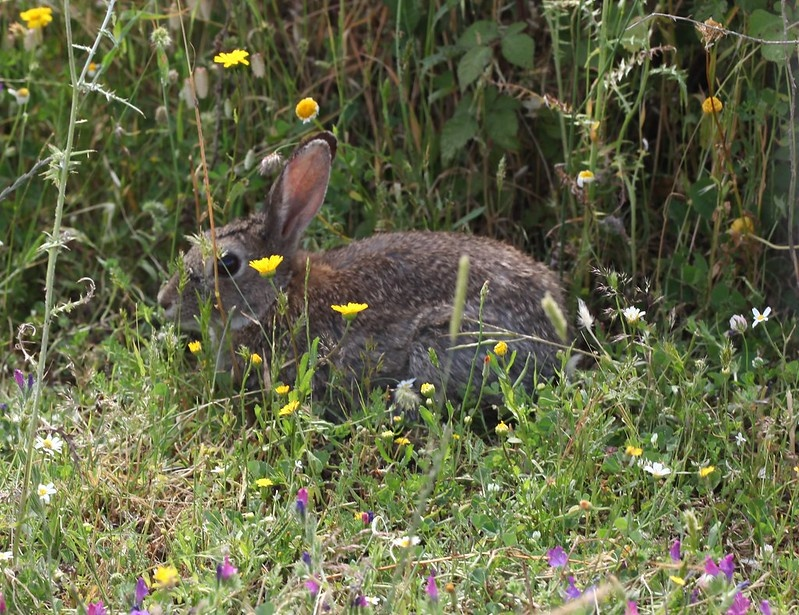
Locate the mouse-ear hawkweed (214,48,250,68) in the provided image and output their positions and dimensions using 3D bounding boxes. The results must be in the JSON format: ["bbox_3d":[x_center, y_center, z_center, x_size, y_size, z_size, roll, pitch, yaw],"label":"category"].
[{"bbox_3d":[-0.856,-1.273,4.833,0.177,0.091,0.209,-6,25,3],"label":"mouse-ear hawkweed"}]

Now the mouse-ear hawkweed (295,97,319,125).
[{"bbox_3d":[-0.453,-0.972,4.703,0.095,0.134,0.196,1,19,-1],"label":"mouse-ear hawkweed"}]

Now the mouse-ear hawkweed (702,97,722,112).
[{"bbox_3d":[1.426,-0.923,4.335,0.069,0.091,0.139,6,19,14],"label":"mouse-ear hawkweed"}]

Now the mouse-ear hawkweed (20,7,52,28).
[{"bbox_3d":[-2.067,-1.651,5.415,0.141,0.130,0.548,-4,21,-18],"label":"mouse-ear hawkweed"}]

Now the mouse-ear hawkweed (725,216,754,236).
[{"bbox_3d":[1.627,-0.395,4.534,0.088,0.111,0.099,-14,-12,10],"label":"mouse-ear hawkweed"}]

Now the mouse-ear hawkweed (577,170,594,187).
[{"bbox_3d":[0.877,-0.601,4.471,0.079,0.096,0.173,5,19,11],"label":"mouse-ear hawkweed"}]
